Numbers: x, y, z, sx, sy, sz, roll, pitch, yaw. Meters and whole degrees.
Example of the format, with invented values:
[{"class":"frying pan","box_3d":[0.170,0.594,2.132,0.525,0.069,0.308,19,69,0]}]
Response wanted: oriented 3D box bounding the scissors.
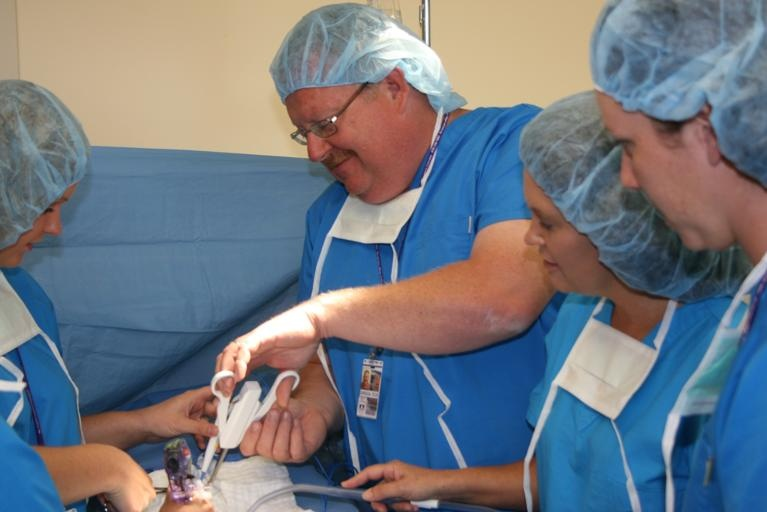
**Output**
[{"class":"scissors","box_3d":[-0.406,0.496,2.144,0.302,0.443,0.211,-2,18,-11]}]
